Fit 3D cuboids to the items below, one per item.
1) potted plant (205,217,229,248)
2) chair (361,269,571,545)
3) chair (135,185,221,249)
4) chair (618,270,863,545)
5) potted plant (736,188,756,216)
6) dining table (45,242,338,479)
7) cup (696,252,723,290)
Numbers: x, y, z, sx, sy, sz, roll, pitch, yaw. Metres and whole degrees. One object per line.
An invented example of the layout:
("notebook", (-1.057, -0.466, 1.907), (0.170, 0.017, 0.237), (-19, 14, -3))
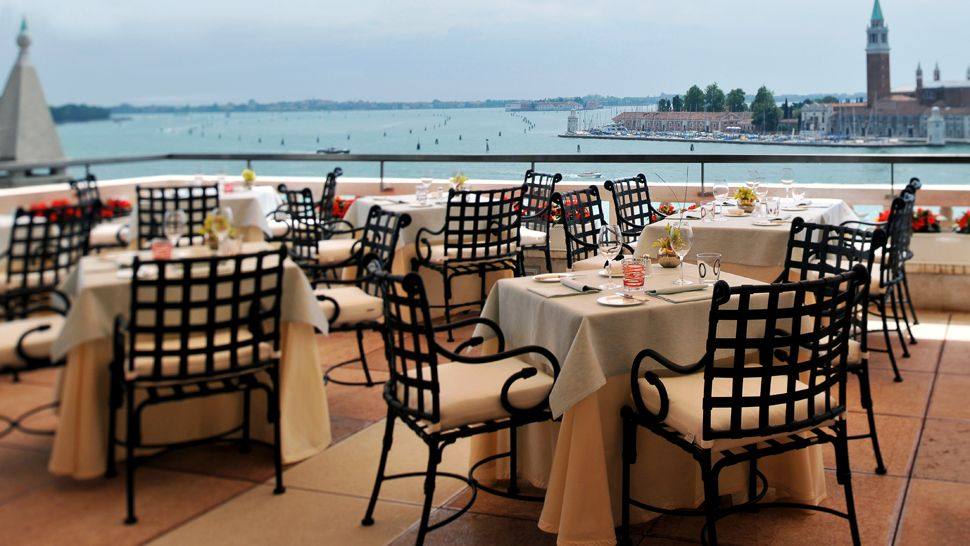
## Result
("potted plant", (-1.884, -0.284, 5.006), (0.196, 0.207, 0.102), (5, -8, -17))
("chair", (-0.179, 0.714, 4.166), (1.143, 1.563, 0.801), (-5, 14, -11))
("chair", (-2.919, -0.529, 6.789), (0.936, 0.597, 0.866), (-1, 6, -7))
("chair", (1.396, 0.740, 3.947), (1.391, 1.556, 0.735), (-5, 14, -9))
("potted plant", (2.472, -0.675, 6.778), (0.255, 0.230, 0.242), (3, 0, 5))
("dining table", (-1.988, 0.554, 4.982), (1.734, 1.093, 1.642), (-1, 2, -26))
("cup", (1.408, -0.021, 4.451), (0.231, 0.222, 0.217), (0, -4, 0))
